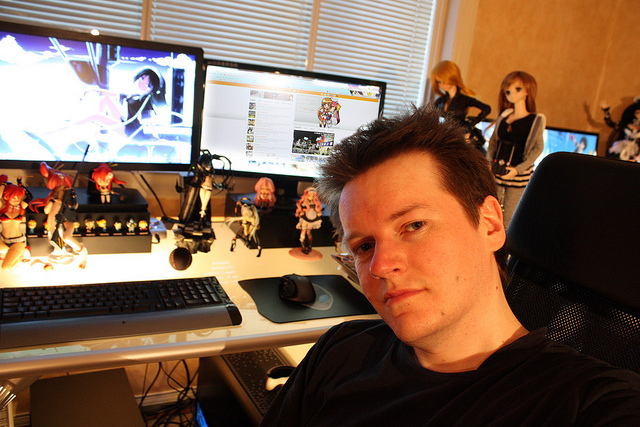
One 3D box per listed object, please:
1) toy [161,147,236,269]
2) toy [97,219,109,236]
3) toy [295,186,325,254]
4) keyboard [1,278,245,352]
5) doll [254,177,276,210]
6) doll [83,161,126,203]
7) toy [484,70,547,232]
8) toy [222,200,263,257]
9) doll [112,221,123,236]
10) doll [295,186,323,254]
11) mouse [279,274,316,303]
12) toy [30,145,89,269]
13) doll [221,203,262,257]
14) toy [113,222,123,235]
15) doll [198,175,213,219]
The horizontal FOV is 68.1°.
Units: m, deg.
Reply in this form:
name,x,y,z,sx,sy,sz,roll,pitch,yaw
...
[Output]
name,x,y,z,sx,sy,sz,roll,pitch,yaw
toy,-0.474,-0.004,1.899,0.265,0.481,0.305,-4,18,-29
toy,-0.809,0.054,1.758,0.032,0.057,0.029,-8,18,-32
toy,-0.060,0.030,2.017,0.128,0.258,0.123,3,19,-6
keyboard,-0.602,0.291,1.461,0.691,0.104,0.219,-3,16,-17
doll,-0.238,-0.084,2.036,0.090,0.135,0.061,-3,16,-17
doll,-0.813,-0.117,1.785,0.168,0.158,0.067,-1,5,-20
toy,1.077,-0.375,2.665,0.334,0.827,0.338,8,17,23
toy,-0.318,0.069,1.966,0.151,0.236,0.094,22,34,29
doll,-0.764,0.060,1.775,0.034,0.045,0.027,-4,16,-19
doll,-0.041,0.027,1.973,0.124,0.273,0.075,7,3,20
mouse,-0.080,0.261,1.621,0.108,0.062,0.084,9,8,23
toy,-0.929,-0.003,1.693,0.271,0.358,0.157,13,19,35
doll,-0.299,0.044,1.958,0.173,0.203,0.154,-11,24,-35
toy,-0.764,0.057,1.783,0.043,0.054,0.039,-2,16,-30
doll,-0.463,-0.068,1.897,0.043,0.170,0.069,15,20,39
